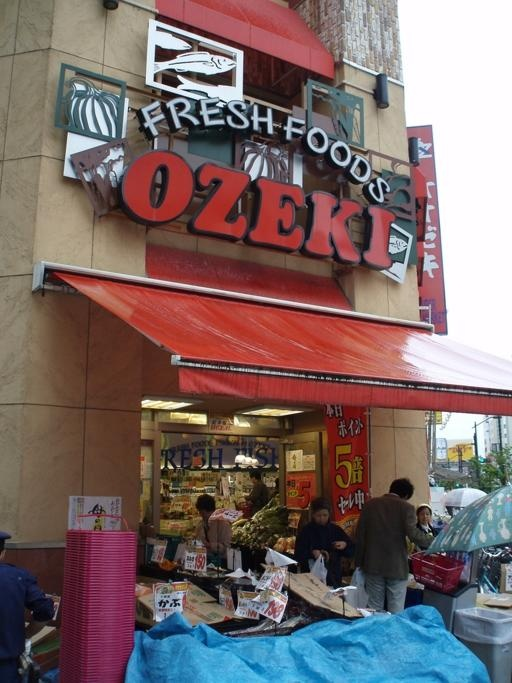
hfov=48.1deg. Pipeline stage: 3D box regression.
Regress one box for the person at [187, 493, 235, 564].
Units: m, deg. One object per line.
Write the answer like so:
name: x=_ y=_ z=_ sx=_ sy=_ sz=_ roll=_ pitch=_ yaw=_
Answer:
person: x=-0.503 y=2.212 z=6.762 sx=0.443 sy=0.711 sz=1.064 roll=9 pitch=-8 yaw=-6

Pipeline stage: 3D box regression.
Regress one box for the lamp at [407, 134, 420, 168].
lamp: x=2.845 y=-3.431 z=10.392 sx=0.201 sy=0.688 sz=0.410 roll=7 pitch=-9 yaw=9

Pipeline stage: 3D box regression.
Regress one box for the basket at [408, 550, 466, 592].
basket: x=1.586 y=2.024 z=5.055 sx=0.303 sy=0.248 sz=0.407 roll=8 pitch=-9 yaw=-39

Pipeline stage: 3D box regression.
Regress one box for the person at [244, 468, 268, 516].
person: x=0.046 y=2.797 z=10.453 sx=0.406 sy=0.867 sz=0.676 roll=8 pitch=-8 yaw=2

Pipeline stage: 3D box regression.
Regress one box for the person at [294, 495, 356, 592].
person: x=0.768 y=2.185 z=6.249 sx=0.641 sy=0.884 sz=0.586 roll=9 pitch=-8 yaw=-2

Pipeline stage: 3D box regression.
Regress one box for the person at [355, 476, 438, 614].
person: x=1.471 y=2.348 z=6.191 sx=0.777 sy=1.735 sz=0.503 roll=4 pitch=1 yaw=25
